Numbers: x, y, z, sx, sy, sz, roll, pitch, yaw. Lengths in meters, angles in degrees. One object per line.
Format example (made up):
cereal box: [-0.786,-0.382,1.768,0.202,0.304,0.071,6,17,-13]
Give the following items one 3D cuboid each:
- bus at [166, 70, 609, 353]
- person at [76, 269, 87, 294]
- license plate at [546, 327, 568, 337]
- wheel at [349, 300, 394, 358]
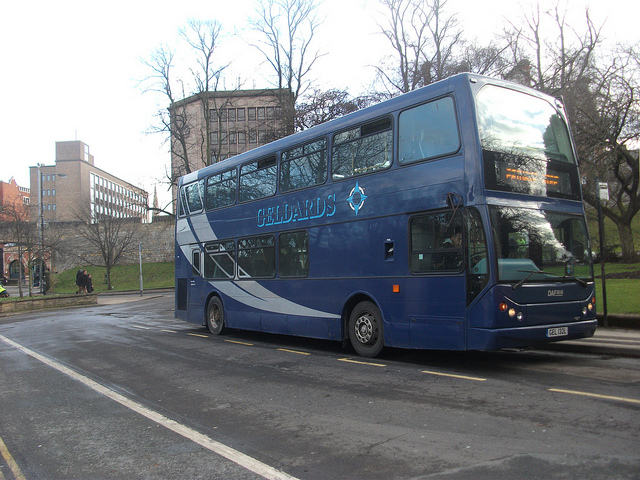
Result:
bus: [0.361,-0.036,14.488,4.058,5.583,12.226,4,-7,-38]
person: [-19.958,3.498,44.338,0.675,1.781,1.334,-1,-3,-34]
license plate: [4.306,1.667,9.583,0.555,0.142,0.026,-1,-2,-28]
wheel: [1.078,1.919,11.454,0.443,1.206,1.058,0,5,-42]
